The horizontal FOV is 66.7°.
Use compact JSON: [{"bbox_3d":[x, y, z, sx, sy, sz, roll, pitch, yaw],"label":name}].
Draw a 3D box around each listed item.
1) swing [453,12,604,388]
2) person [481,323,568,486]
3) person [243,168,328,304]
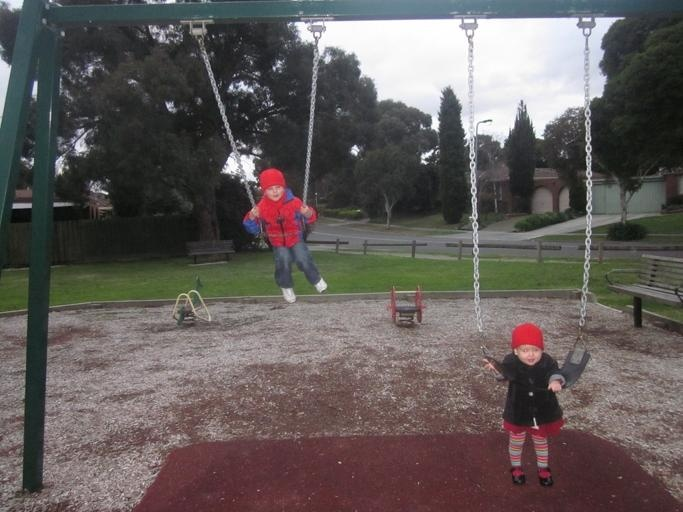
[{"bbox_3d":[1.940,-0.437,5.171,1.445,4.744,0.927,1,-13,7],"label":"swing"},{"bbox_3d":[1.466,1.174,4.087,0.524,1.221,0.439,-2,-2,17],"label":"person"},{"bbox_3d":[-0.729,-0.248,6.679,0.979,1.743,0.591,-3,4,-7],"label":"person"}]
